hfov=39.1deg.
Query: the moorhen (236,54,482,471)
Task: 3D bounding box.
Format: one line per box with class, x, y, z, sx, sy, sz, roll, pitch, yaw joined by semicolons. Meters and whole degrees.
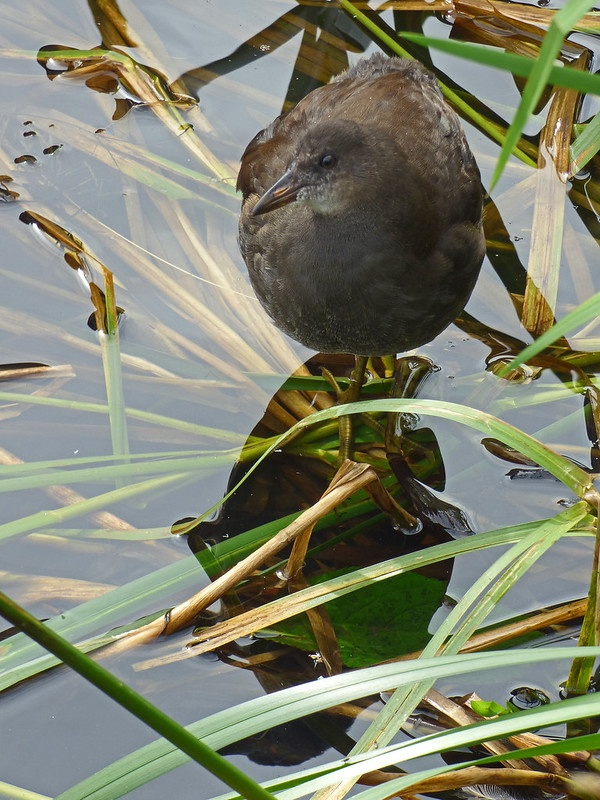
moorhen;0.139;-0.518;2.221;0.648;0.809;0.479;-1;12;12
